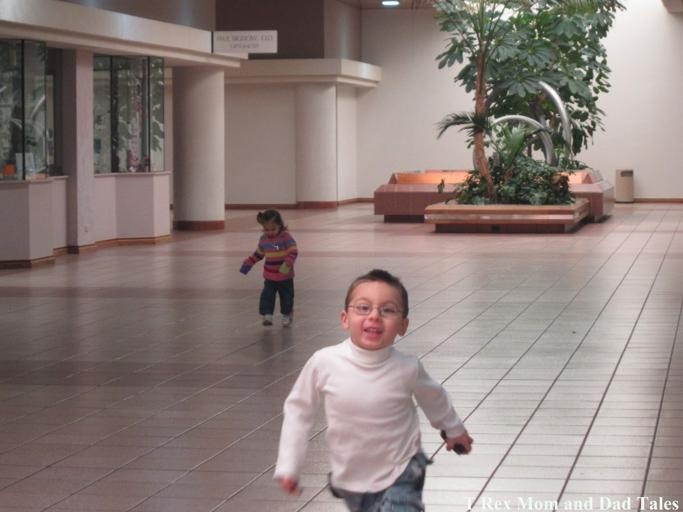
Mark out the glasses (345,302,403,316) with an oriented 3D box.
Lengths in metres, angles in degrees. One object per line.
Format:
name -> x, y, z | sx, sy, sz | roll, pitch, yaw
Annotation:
glasses -> 0.082, 0.133, 1.324 | 0.123, 0.031, 0.029 | -1, 5, 6
